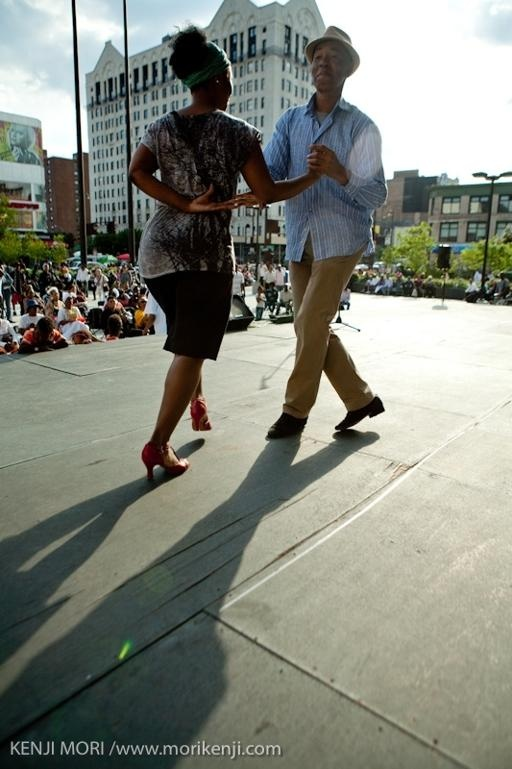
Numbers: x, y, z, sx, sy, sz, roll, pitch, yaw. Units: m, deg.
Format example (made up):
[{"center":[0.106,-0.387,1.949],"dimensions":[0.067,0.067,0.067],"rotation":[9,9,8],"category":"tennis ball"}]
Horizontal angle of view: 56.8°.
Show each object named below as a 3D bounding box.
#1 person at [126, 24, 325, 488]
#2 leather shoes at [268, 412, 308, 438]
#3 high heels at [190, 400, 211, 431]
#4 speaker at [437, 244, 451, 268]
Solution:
[{"center":[-0.220,-0.574,2.132],"dimensions":[0.659,1.887,0.497],"rotation":[-3,11,-18],"category":"person"},{"center":[0.186,0.236,2.665],"dimensions":[0.091,0.106,0.264],"rotation":[0,0,36],"category":"leather shoes"},{"center":[-0.273,0.169,2.543],"dimensions":[0.073,0.125,0.222],"rotation":[-1,11,-2],"category":"high heels"},{"center":[8.053,-5.495,20.397],"dimensions":[0.487,1.064,1.628],"rotation":[4,11,20],"category":"speaker"}]
